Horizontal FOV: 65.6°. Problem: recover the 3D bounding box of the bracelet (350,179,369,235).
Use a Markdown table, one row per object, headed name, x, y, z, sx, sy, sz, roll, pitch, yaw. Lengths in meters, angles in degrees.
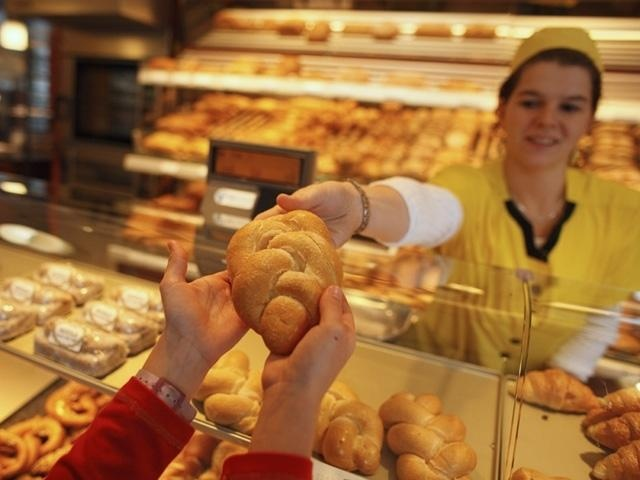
| name | x | y | z | sx | sy | sz | roll | pitch | yaw |
| --- | --- | --- | --- | --- | --- | --- | --- | --- | --- |
| bracelet | 0.164 | -0.126 | 1.885 | 0.038 | 0.161 | 0.158 | -13 | 18 | -9 |
